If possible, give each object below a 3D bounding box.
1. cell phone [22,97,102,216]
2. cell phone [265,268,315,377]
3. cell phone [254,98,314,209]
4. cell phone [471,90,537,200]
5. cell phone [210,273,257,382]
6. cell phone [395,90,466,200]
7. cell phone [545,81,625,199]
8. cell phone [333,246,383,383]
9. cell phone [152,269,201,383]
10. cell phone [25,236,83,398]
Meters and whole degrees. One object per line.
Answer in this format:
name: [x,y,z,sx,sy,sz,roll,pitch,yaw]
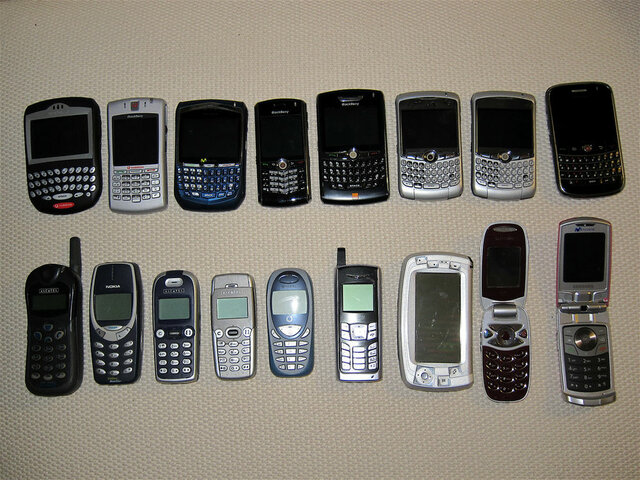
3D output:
cell phone: [-0.562,-0.185,1.503,0.165,0.248,0.081,-5,9,-10]
cell phone: [-0.063,0.175,1.452,0.097,0.221,0.060,-4,9,-5]
cell phone: [-0.082,-0.191,1.488,0.107,0.221,0.063,-5,9,-10]
cell phone: [0.398,-0.206,1.490,0.136,0.230,0.070,-1,9,10]
cell phone: [-0.184,0.183,1.454,0.093,0.214,0.062,-5,9,-8]
cell phone: [0.236,-0.205,1.487,0.134,0.229,0.063,-2,9,6]
cell phone: [0.576,-0.215,1.492,0.137,0.231,0.072,-4,9,-6]
cell phone: [0.081,0.176,1.450,0.099,0.241,0.058,-3,9,2]
cell phone: [-0.305,0.184,1.455,0.103,0.232,0.059,-4,9,-8]
cell phone: [-0.570,0.191,1.457,0.113,0.268,0.075,-2,9,6]
